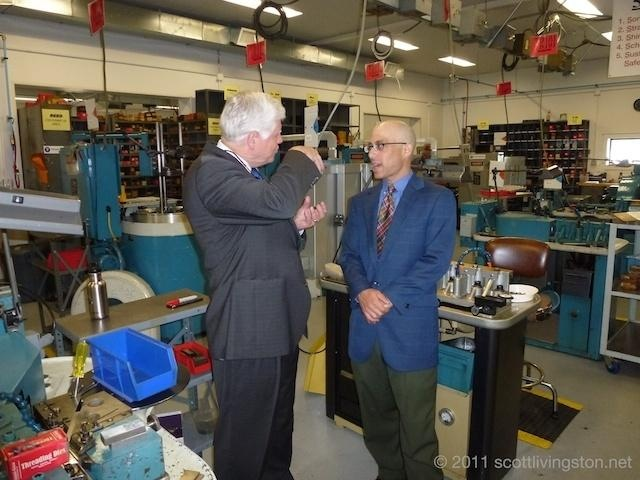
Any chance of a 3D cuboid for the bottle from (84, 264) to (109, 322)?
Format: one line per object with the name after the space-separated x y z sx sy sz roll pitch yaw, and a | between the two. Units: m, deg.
-1.208 0.270 2.650 0.103 0.301 0.144 -6 13 -25 | bottle
